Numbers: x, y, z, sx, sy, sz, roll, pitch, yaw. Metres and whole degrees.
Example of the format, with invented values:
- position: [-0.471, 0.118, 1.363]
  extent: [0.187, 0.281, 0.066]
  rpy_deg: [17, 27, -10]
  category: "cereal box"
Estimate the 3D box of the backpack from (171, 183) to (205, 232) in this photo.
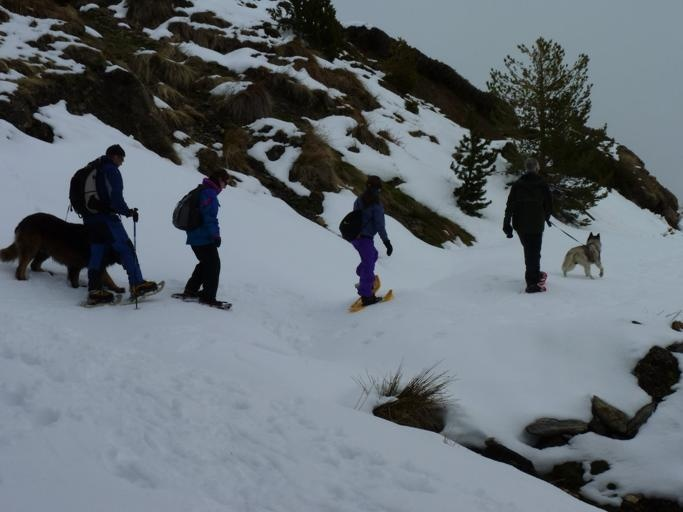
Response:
- position: [-2.535, -0.789, 12.862]
  extent: [0.364, 0.790, 0.526]
  rpy_deg: [4, 5, -17]
  category: "backpack"

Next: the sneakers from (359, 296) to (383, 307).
- position: [0.505, 0.778, 14.103]
  extent: [0.268, 0.163, 0.213]
  rpy_deg: [-8, 4, -13]
  category: "sneakers"

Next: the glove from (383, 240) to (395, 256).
- position: [0.794, -0.131, 13.754]
  extent: [0.151, 0.279, 0.270]
  rpy_deg: [1, -20, -3]
  category: "glove"

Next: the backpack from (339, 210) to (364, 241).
- position: [0.160, -0.541, 13.789]
  extent: [0.336, 0.526, 0.133]
  rpy_deg: [26, 8, 23]
  category: "backpack"

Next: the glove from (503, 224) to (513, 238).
- position: [2.941, -0.461, 14.219]
  extent: [0.193, 0.298, 0.106]
  rpy_deg: [6, -7, -28]
  category: "glove"

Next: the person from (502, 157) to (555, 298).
- position: [3.308, -0.590, 14.139]
  extent: [0.841, 2.303, 0.891]
  rpy_deg: [6, 9, 15]
  category: "person"

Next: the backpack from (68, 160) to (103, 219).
- position: [-4.027, -1.089, 12.574]
  extent: [0.450, 0.984, 0.637]
  rpy_deg: [3, 5, -12]
  category: "backpack"

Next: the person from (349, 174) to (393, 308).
- position: [0.489, -0.270, 13.947]
  extent: [0.658, 2.292, 0.690]
  rpy_deg: [3, 9, 0]
  category: "person"

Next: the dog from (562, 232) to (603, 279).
- position: [4.624, -0.048, 15.047]
  extent: [0.689, 0.824, 1.246]
  rpy_deg: [8, 11, 25]
  category: "dog"

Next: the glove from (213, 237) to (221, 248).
- position: [-2.024, -0.231, 12.820]
  extent: [0.106, 0.231, 0.149]
  rpy_deg: [3, 2, -18]
  category: "glove"

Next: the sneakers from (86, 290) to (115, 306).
- position: [-3.775, 0.594, 12.342]
  extent: [0.397, 0.313, 0.218]
  rpy_deg: [-6, 7, -24]
  category: "sneakers"

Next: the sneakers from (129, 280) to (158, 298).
- position: [-3.155, 0.508, 12.673]
  extent: [0.513, 0.268, 0.182]
  rpy_deg: [-9, -6, -25]
  category: "sneakers"
